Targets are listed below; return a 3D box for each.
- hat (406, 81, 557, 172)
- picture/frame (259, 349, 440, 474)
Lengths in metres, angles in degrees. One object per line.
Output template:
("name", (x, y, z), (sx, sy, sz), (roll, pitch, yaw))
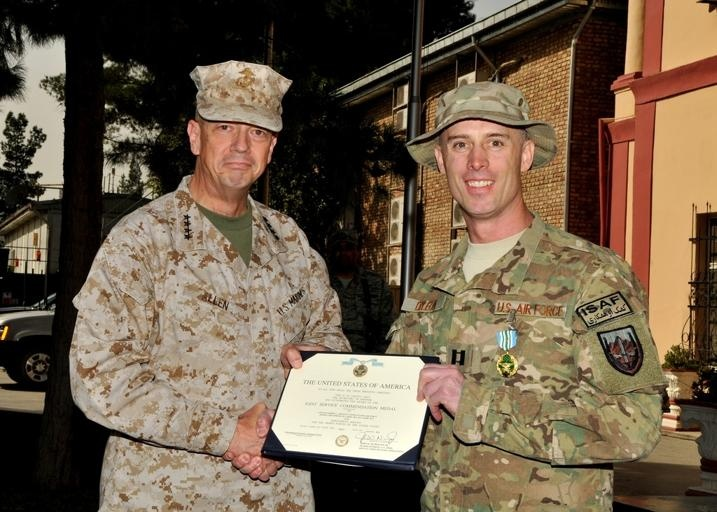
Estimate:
("hat", (0.838, -0.886, 4.905), (0.683, 0.388, 0.718), (-4, -4, -11))
("picture/frame", (-0.021, 0.911, 4.713), (0.905, 0.167, 1.198), (4, 20, 11))
